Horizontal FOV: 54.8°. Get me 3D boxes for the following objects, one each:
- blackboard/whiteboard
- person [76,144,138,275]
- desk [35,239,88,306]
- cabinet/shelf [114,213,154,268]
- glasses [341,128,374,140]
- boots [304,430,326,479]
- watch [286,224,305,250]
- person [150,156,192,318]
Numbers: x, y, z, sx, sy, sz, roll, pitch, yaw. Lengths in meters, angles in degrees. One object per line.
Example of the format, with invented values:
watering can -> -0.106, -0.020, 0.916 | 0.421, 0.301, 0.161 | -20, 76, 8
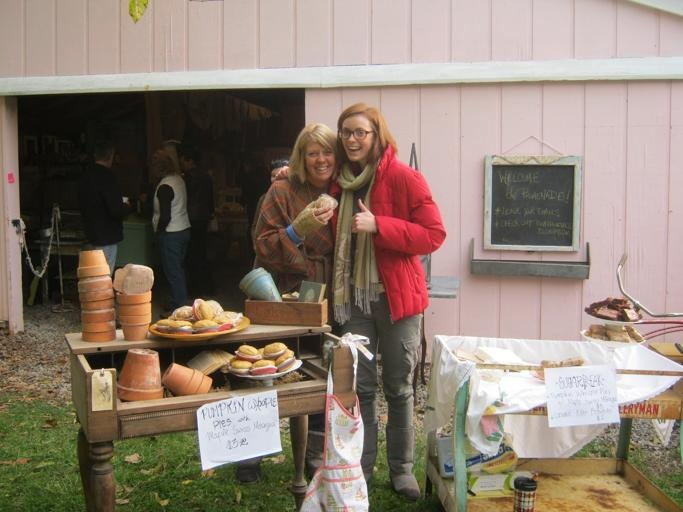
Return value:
blackboard/whiteboard -> 1.893, -0.528, 6.365 | 0.832, 0.920, 0.091 | 1, 4, 7
person -> -2.743, -0.548, 7.611 | 0.545, 1.448, 0.325 | -2, 6, -21
desk -> -3.571, 0.215, 8.323 | 0.521, 0.790, 0.785 | 0, 8, -2
cabinet/shelf -> -2.848, -0.202, 9.171 | 0.741, 0.769, 0.533 | -3, 7, -44
glasses -> 0.104, -0.768, 4.183 | 0.197, 0.071, 0.058 | 1, 6, 4
boots -> -0.187, 1.342, 4.504 | 0.157, 0.287, 0.175 | 12, -14, -14
watch -> -0.299, -0.116, 4.204 | 0.080, 0.125, 0.118 | -25, -35, 23
person -> -2.134, -0.299, 8.278 | 0.422, 2.074, 1.285 | -1, 6, -15
